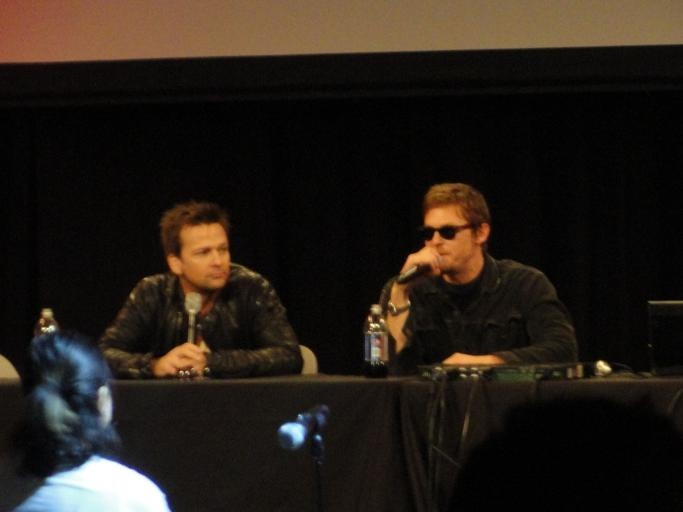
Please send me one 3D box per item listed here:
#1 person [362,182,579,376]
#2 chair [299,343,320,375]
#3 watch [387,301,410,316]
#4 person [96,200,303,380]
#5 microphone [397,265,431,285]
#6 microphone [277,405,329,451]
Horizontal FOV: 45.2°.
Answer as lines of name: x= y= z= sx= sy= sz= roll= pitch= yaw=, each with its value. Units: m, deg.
person: x=0.629 y=0.058 z=3.951 sx=0.921 sy=0.997 sz=0.858 roll=-5 pitch=-9 yaw=41
chair: x=-0.156 y=0.525 z=4.117 sx=0.138 sy=0.182 sz=0.133 roll=-3 pitch=-27 yaw=2
watch: x=0.253 y=0.237 z=3.716 sx=0.062 sy=0.046 sz=0.082 roll=0 pitch=-3 yaw=34
person: x=-0.617 y=0.204 z=3.734 sx=1.059 sy=0.876 sz=0.763 roll=-1 pitch=-3 yaw=-10
microphone: x=0.321 y=0.093 z=3.547 sx=0.054 sy=0.055 sz=0.494 roll=-20 pitch=0 yaw=15
microphone: x=-0.123 y=0.592 z=2.785 sx=0.161 sy=0.163 sz=0.256 roll=1 pitch=-7 yaw=0
